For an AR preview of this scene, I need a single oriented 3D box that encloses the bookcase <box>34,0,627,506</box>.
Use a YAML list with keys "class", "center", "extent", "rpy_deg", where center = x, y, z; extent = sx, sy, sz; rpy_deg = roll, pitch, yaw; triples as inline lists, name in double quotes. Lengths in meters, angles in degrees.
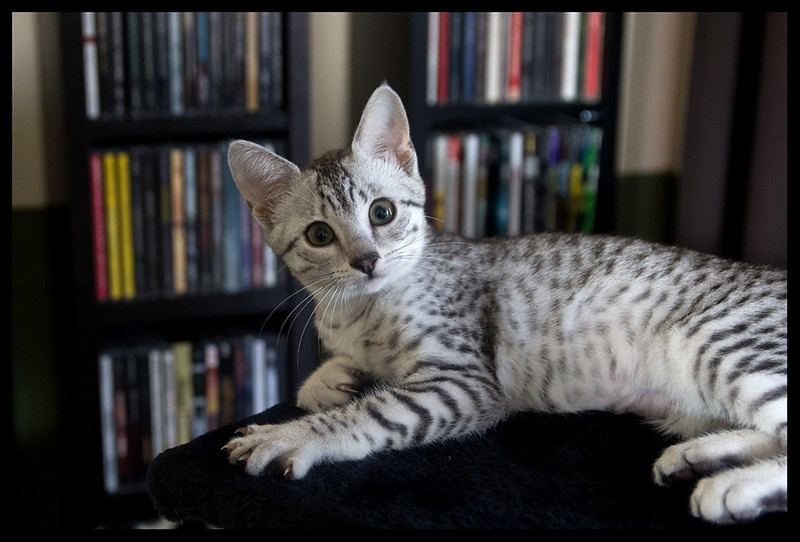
- class: "bookcase"
  center: [-0.243, -0.073, 2.133]
  extent: [1.553, 1.459, 0.245]
  rpy_deg: [-2, 7, -12]
